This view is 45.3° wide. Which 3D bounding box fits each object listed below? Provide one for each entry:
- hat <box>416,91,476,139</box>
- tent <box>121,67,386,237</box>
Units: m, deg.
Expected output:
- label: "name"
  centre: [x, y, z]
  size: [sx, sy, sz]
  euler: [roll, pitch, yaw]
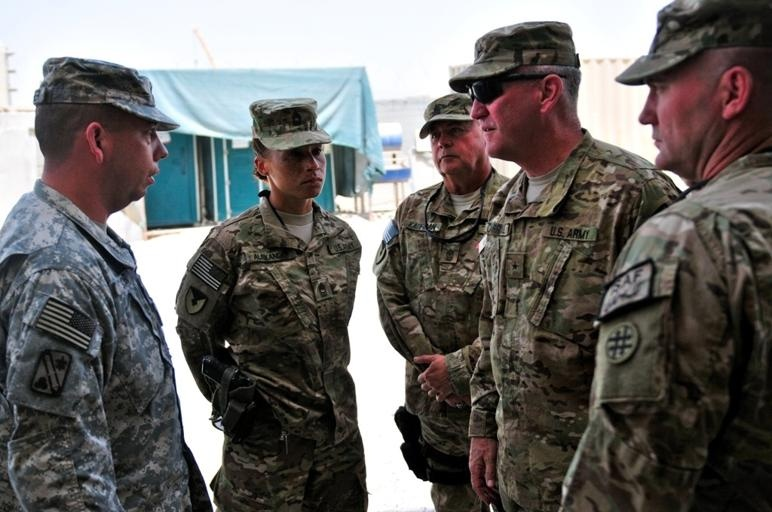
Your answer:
- label: "hat"
  centre: [0.339, -0.752, 4.936]
  size: [0.200, 0.100, 0.276]
  euler: [-15, 8, 38]
- label: "tent"
  centre: [-1.719, -1.550, 12.701]
  size: [2.393, 1.487, 2.383]
  euler: [-1, 11, -2]
